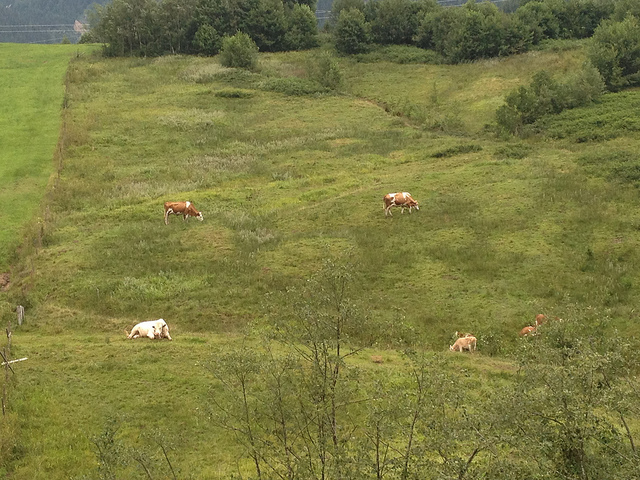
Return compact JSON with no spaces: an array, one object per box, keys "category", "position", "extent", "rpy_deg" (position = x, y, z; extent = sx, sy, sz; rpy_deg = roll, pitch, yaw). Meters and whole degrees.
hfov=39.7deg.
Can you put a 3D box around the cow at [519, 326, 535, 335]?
[{"category":"cow","position":[13.885,6.024,59.555],"extent":[0.675,0.373,1.384],"rpy_deg":[13,-32,-21]}]

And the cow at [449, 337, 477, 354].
[{"category":"cow","position":[9.599,7.013,59.646],"extent":[1.682,0.998,0.732],"rpy_deg":[-2,19,8]}]

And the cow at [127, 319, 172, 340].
[{"category":"cow","position":[-11.662,6.172,61.231],"extent":[2.080,1.160,1.461],"rpy_deg":[1,1,1]}]
